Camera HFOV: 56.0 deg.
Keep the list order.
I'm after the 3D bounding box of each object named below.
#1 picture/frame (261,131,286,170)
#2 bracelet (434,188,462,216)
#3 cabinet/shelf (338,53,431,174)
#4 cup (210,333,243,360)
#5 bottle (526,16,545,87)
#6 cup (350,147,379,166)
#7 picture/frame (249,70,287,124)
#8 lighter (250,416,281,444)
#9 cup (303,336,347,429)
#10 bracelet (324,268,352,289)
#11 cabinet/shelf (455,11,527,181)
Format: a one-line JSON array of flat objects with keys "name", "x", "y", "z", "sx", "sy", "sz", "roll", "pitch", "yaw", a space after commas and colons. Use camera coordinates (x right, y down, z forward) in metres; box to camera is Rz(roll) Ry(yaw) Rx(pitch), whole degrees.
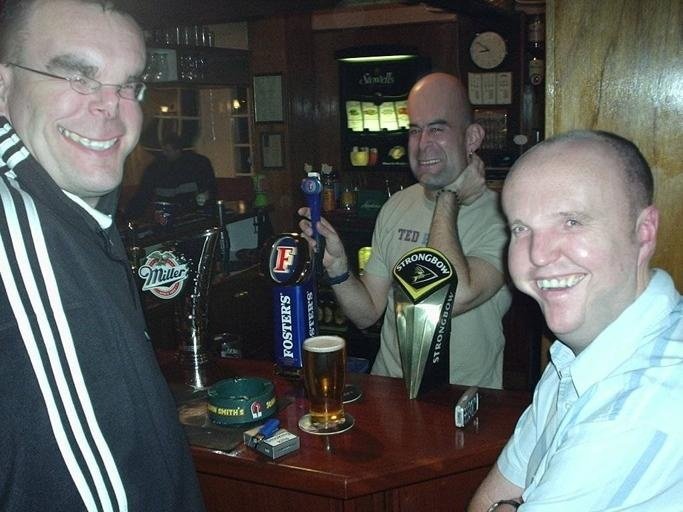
[{"name": "picture/frame", "x": -0.695, "y": -1.105, "z": 6.596, "sx": 0.344, "sy": 0.376, "sz": 0.030, "roll": 16, "pitch": 27, "yaw": 32}, {"name": "bracelet", "x": 0.423, "y": -0.205, "z": 2.529, "sx": 0.082, "sy": 0.105, "sz": 0.062, "roll": 4, "pitch": -16, "yaw": 9}, {"name": "cabinet/shelf", "x": 0.523, "y": -1.272, "z": 5.762, "sx": 0.863, "sy": 1.077, "sz": 0.706, "roll": 10, "pitch": 16, "yaw": 40}, {"name": "cup", "x": -0.430, "y": 0.331, "z": 2.393, "sx": 0.099, "sy": 0.069, "sz": 0.084, "roll": -5, "pitch": 11, "yaw": -27}, {"name": "bottle", "x": 1.411, "y": -1.483, "z": 4.650, "sx": 0.109, "sy": 0.474, "sz": 0.238, "roll": -1, "pitch": 13, "yaw": 15}, {"name": "cup", "x": 0.206, "y": -0.868, "z": 5.615, "sx": 0.209, "sy": 0.188, "sz": 0.153, "roll": 3, "pitch": 2, "yaw": 2}, {"name": "picture/frame", "x": -0.725, "y": -1.607, "z": 6.457, "sx": 0.597, "sy": 0.637, "sz": 0.051, "roll": 3, "pitch": 10, "yaw": 22}, {"name": "lighter", "x": -0.201, "y": 0.466, "z": 1.721, "sx": 0.041, "sy": 0.018, "sz": 0.077, "roll": 12, "pitch": 29, "yaw": 23}, {"name": "cup", "x": -0.025, "y": 0.341, "z": 1.823, "sx": 0.105, "sy": 0.247, "sz": 0.178, "roll": 3, "pitch": 15, "yaw": 30}, {"name": "bracelet", "x": -0.013, "y": 0.084, "z": 2.545, "sx": 0.097, "sy": 0.071, "sz": 0.106, "roll": -2, "pitch": 12, "yaw": 8}, {"name": "cabinet/shelf", "x": 1.162, "y": -1.236, "z": 5.047, "sx": 0.459, "sy": 1.113, "sz": 0.108, "roll": -7, "pitch": 23, "yaw": -3}]
